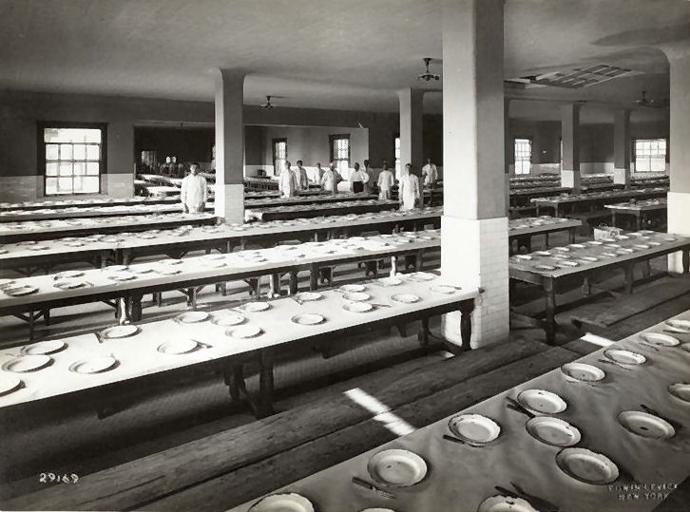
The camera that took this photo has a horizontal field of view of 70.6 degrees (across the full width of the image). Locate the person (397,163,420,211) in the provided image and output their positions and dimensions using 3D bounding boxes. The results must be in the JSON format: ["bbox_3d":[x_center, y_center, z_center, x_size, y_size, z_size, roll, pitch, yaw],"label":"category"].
[{"bbox_3d":[1.442,-1.651,11.552,0.478,0.287,1.514,2,-20,-5],"label":"person"}]
